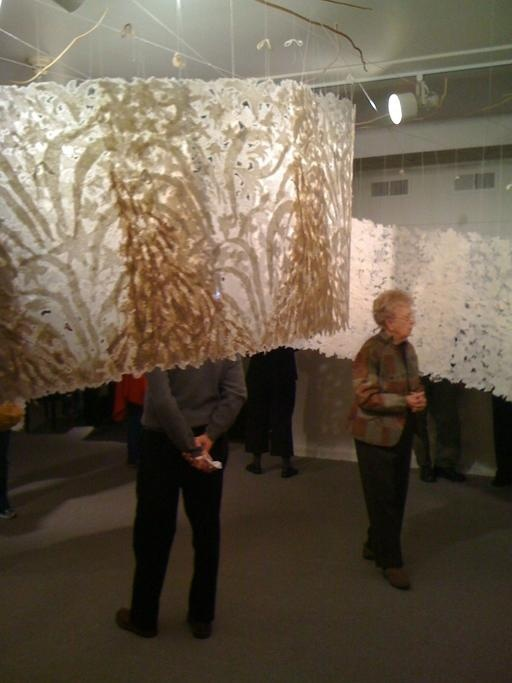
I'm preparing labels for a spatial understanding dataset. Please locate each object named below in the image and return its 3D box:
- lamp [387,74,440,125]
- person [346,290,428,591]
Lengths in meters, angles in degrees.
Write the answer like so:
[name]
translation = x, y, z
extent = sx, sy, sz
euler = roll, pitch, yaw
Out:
[lamp]
translation = 0.578, -0.863, 1.823
extent = 0.151, 0.140, 0.089
euler = -5, 14, 10
[person]
translation = 0.398, 0.287, 1.510
extent = 0.244, 0.844, 0.256
euler = -7, -12, 10
